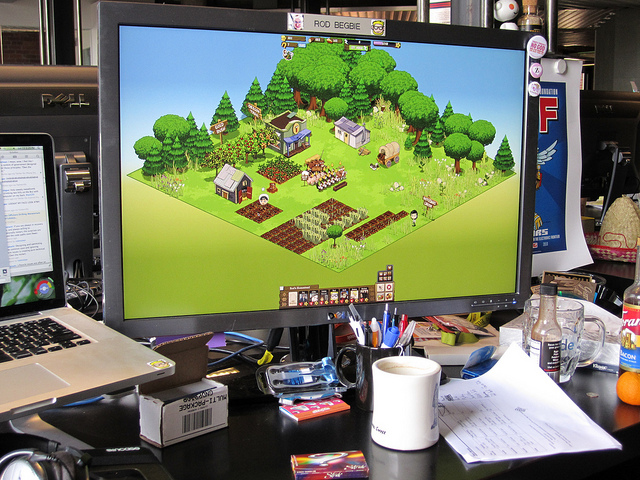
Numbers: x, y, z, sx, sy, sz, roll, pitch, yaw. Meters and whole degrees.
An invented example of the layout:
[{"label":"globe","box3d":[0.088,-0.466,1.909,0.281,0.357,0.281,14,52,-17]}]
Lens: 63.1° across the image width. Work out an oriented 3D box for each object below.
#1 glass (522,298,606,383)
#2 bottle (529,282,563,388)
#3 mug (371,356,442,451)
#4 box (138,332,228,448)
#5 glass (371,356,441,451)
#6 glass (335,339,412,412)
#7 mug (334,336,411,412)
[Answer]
[{"label":"glass","box3d":[0.543,0.226,1.168,0.194,0.178,0.123,1,5,8]},{"label":"bottle","box3d":[0.480,0.188,1.098,0.069,0.221,0.146,5,16,23]},{"label":"mug","box3d":[0.148,0.281,0.924,0.123,0.129,0.128,-4,5,-40]},{"label":"box","box3d":[-0.242,0.260,0.938,0.068,0.178,0.143,1,0,39]},{"label":"glass","box3d":[0.145,0.284,0.942,0.138,0.135,0.124,-5,13,-21]},{"label":"glass","box3d":[0.091,0.261,1.040,0.140,0.125,0.086,-8,-6,40]},{"label":"mug","box3d":[0.087,0.260,1.038,0.128,0.113,0.078,-5,-7,35]}]
